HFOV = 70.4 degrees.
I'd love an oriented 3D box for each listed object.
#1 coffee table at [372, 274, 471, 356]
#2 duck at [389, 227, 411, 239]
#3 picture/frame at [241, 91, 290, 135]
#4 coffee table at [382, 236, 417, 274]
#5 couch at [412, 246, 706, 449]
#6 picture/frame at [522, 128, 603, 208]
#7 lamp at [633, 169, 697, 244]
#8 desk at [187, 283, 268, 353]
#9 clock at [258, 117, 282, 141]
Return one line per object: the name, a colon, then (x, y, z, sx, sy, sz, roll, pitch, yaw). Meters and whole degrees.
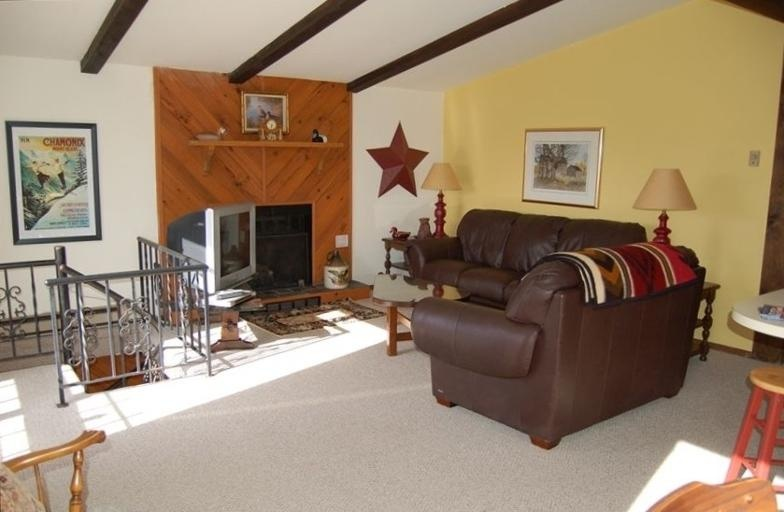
coffee table: (0.118, 0.431, 5.648, 0.733, 0.469, 1.029, -8, 16, -33)
duck: (0.119, -0.305, 7.507, 0.255, 0.145, 0.153, 2, 7, 19)
picture/frame: (-1.514, -1.687, 6.547, 0.602, 0.463, 0.041, -2, 3, -28)
coffee table: (0.148, -0.020, 7.559, 0.504, 0.452, 0.505, 6, 9, 41)
couch: (1.277, 0.604, 4.583, 2.391, 1.504, 1.436, -7, 13, -33)
picture/frame: (2.087, -1.053, 6.663, 0.974, 0.881, 0.071, 12, 13, 40)
lamp: (2.624, -0.495, 5.531, 0.469, 0.740, 0.484, -4, 9, -19)
desk: (-1.657, 0.698, 5.726, 0.709, 0.483, 0.705, 3, -9, -31)
clock: (-1.441, -1.485, 6.553, 0.308, 0.299, 0.181, -4, 10, -32)
